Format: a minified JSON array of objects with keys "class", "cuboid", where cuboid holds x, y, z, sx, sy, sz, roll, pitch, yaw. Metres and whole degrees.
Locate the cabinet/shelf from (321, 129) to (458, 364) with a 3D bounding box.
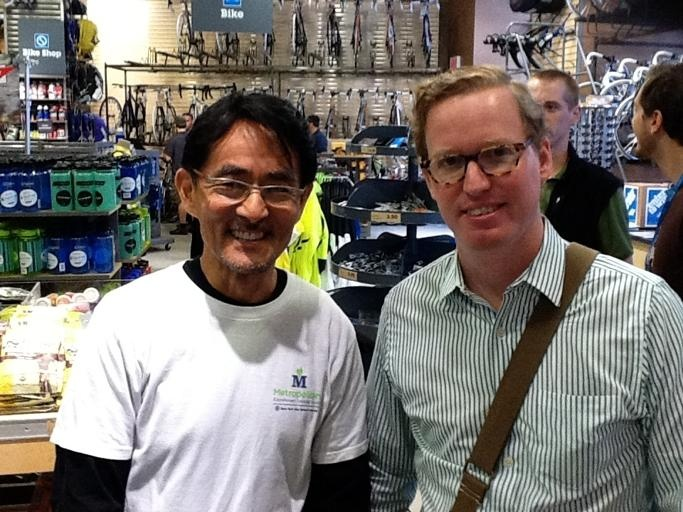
[{"class":"cabinet/shelf","cuboid":[0.453,-0.136,4.724,0.802,1.530,0.852,9,8,-18]}]
